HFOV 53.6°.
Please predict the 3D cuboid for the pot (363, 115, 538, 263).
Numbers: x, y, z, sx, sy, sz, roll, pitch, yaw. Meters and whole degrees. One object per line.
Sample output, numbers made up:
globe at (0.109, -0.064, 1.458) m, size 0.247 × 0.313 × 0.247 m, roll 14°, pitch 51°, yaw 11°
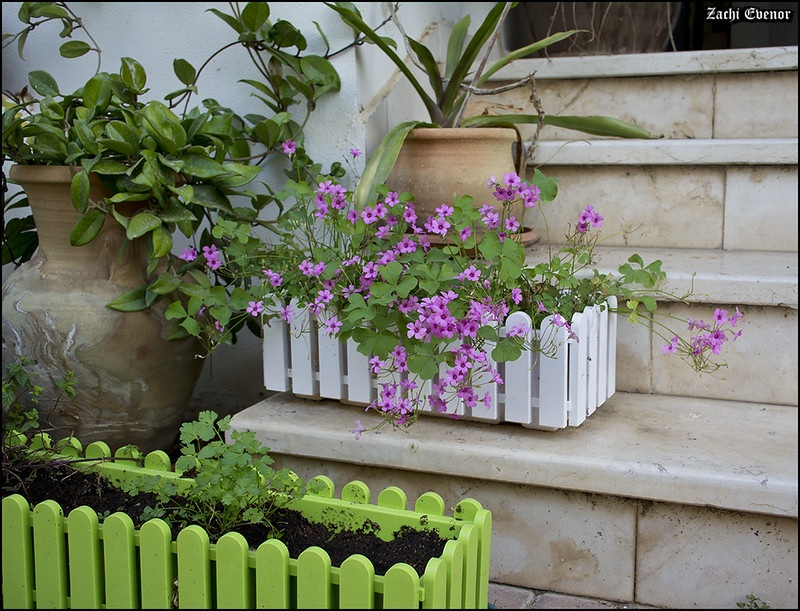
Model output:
pot at (0.098, -0.295, 2.012) m, size 0.324 × 0.223 × 0.338 m, roll 0°, pitch 9°, yaw 0°
